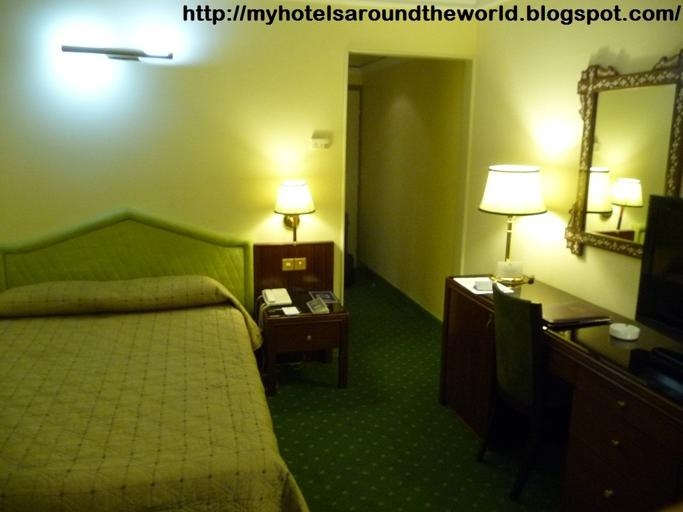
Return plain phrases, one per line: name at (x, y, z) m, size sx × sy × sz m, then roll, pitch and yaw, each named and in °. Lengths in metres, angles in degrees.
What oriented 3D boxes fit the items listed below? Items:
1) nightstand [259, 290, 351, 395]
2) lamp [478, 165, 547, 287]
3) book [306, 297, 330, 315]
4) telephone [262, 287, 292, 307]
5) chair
nightstand at (-0.233, 0.523, 3.272) m, size 0.490 × 0.491 × 0.613 m, roll -2°, pitch 12°, yaw -8°
lamp at (0.979, -0.179, 3.003) m, size 0.346 × 0.646 × 0.433 m, roll 4°, pitch 15°, yaw 22°
book at (-0.147, 0.318, 3.308) m, size 0.079 × 0.027 × 0.113 m, roll -4°, pitch 29°, yaw -15°
telephone at (-0.415, 0.275, 3.413) m, size 0.111 × 0.028 × 0.139 m, roll -1°, pitch 25°, yaw -15°
chair at (1.011, 0.632, 2.556) m, size 0.547 × 0.875 × 0.507 m, roll 3°, pitch 3°, yaw -3°
